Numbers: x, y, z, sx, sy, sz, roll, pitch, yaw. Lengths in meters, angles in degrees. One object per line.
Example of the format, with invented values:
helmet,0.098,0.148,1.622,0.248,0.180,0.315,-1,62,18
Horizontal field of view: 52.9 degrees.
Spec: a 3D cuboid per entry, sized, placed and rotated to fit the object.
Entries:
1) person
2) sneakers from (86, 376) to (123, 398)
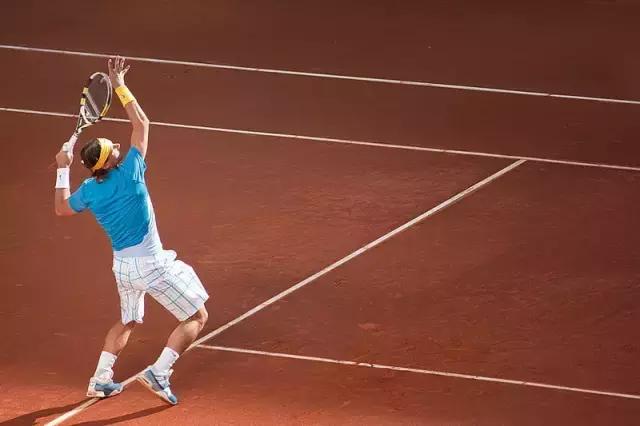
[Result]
person,-1.866,0.575,6.084,1.617,2.206,0.779,26,-30,-38
sneakers,-2.088,1.689,6.264,0.406,0.169,0.142,-1,6,-31
